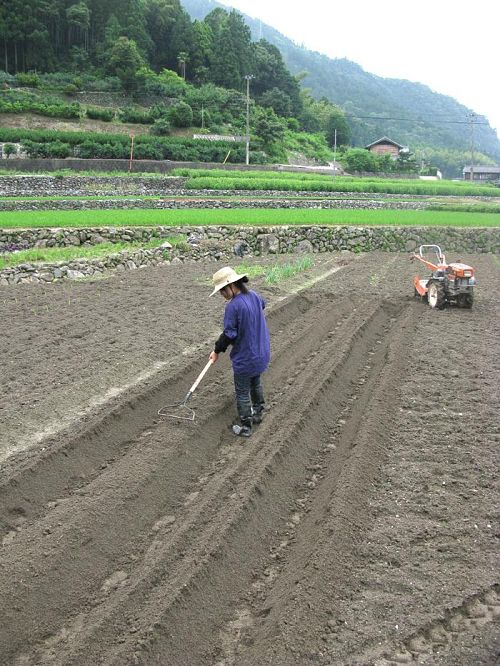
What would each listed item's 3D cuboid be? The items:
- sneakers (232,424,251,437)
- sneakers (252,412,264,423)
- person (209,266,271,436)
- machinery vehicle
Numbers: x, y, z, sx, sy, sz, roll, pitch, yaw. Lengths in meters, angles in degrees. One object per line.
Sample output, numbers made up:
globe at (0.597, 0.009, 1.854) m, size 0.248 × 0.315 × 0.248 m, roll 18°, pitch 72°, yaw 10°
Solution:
sneakers at (-0.102, 1.087, 6.214) m, size 0.085 × 0.108 × 0.249 m, roll 7°, pitch 9°, yaw -28°
sneakers at (0.072, 0.965, 6.405) m, size 0.160 × 0.111 × 0.202 m, roll -3°, pitch 5°, yaw -4°
person at (-0.125, 0.219, 6.061) m, size 0.639 × 1.812 × 0.427 m, roll 3°, pitch 16°, yaw -5°
machinery vehicle at (4.170, -1.167, 11.808) m, size 0.817 × 1.247 × 1.222 m, roll 2°, pitch 16°, yaw -8°
